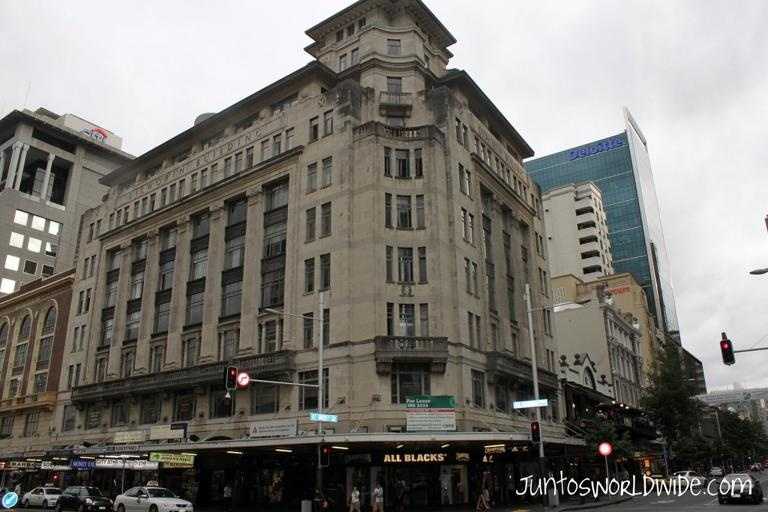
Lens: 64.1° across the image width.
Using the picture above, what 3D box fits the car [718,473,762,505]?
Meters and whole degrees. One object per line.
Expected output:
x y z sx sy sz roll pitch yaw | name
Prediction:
30.831 20.348 53.281 3.682 2.520 1.758 -1 -26 -4 | car
